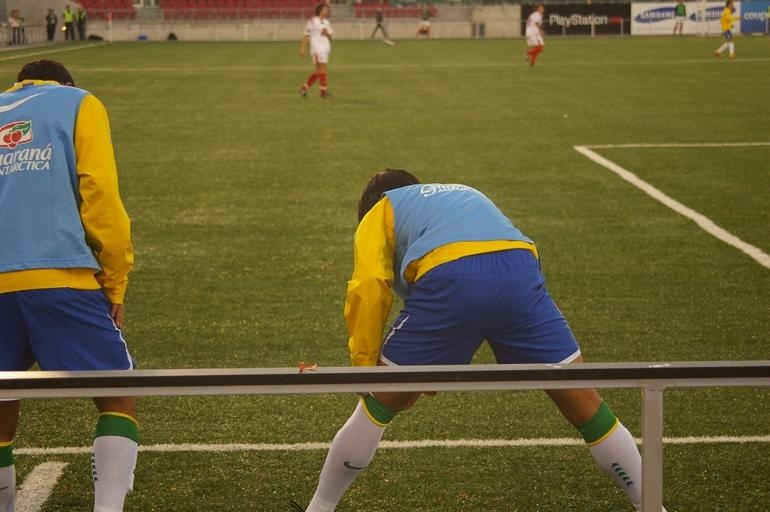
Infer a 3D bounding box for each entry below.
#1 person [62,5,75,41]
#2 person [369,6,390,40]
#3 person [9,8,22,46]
[{"bbox_3d":[-7.324,-5.344,33.073,0.262,0.772,1.066,-5,17,-12],"label":"person"},{"bbox_3d":[-0.097,-5.233,31.999,0.333,0.690,0.818,2,17,10],"label":"person"},{"bbox_3d":[-8.357,-5.159,32.201,0.256,0.758,0.787,-4,17,-9],"label":"person"}]
